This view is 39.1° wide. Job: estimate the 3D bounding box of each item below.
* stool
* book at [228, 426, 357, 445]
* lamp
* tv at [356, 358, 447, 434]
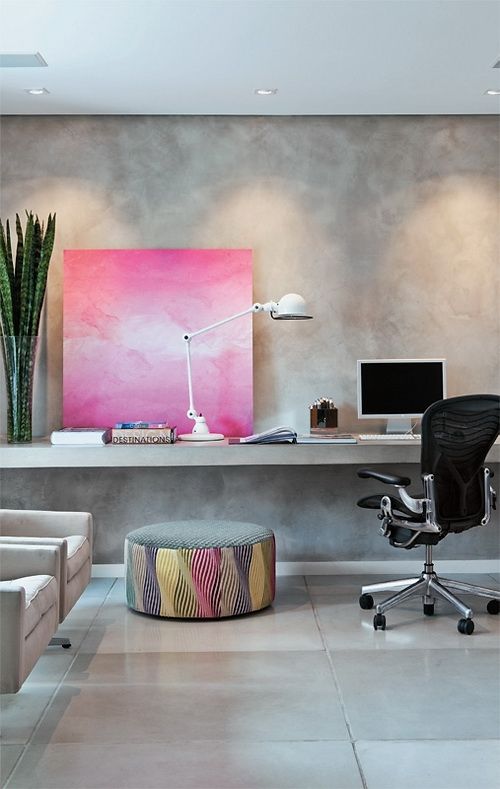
[{"bbox_3d":[-0.209,0.763,3.022,0.646,0.350,0.398,0,-1,-8],"label":"stool"},{"bbox_3d":[0.189,0.194,3.436,0.575,0.077,0.543,0,-1,-3],"label":"book"},{"bbox_3d":[-0.036,-0.129,3.537,0.644,0.722,0.447,0,-1,1],"label":"lamp"},{"bbox_3d":[0.748,-0.003,3.461,0.393,0.341,0.112,0,-2,0],"label":"tv"}]
